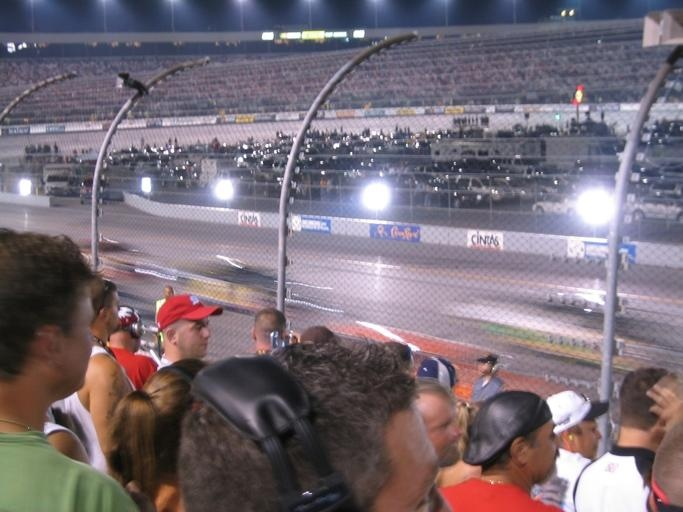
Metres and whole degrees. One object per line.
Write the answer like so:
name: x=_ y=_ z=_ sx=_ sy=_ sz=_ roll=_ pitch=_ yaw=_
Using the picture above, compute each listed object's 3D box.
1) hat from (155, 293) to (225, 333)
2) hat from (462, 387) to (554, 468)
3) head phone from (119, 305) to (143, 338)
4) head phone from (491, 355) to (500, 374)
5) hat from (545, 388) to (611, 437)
hat: x=-1.002 y=0.340 z=4.364 sx=0.432 sy=0.184 sz=0.294 roll=-12 pitch=0 yaw=8
hat: x=0.757 y=0.773 z=3.097 sx=0.463 sy=0.253 sz=0.345 roll=-22 pitch=-1 yaw=-7
head phone: x=-1.468 y=0.442 z=4.667 sx=0.184 sy=0.209 sz=0.200 roll=7 pitch=38 yaw=-22
head phone: x=1.078 y=0.772 z=4.691 sx=0.044 sy=0.125 sz=0.081 roll=-3 pitch=2 yaw=-38
hat: x=1.290 y=0.817 z=3.720 sx=0.362 sy=0.147 sz=0.267 roll=-26 pitch=14 yaw=12
